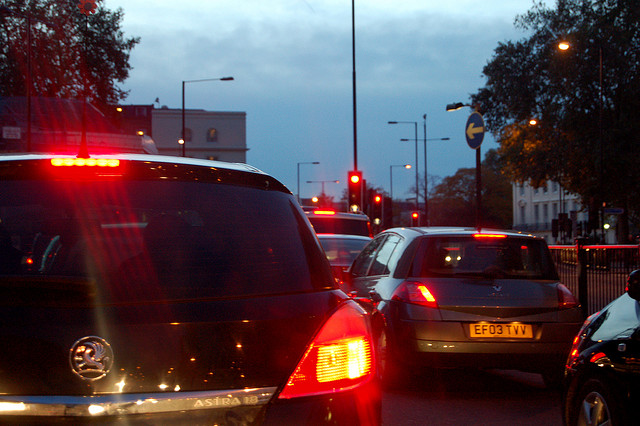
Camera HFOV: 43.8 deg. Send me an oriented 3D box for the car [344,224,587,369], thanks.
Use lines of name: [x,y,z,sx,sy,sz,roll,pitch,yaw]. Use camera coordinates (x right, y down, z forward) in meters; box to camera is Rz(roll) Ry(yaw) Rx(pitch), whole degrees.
car: [1.448,0.844,8.976,1.417,0.942,2.222,1,1,-7]

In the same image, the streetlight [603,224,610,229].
streetlight: [16.478,0.747,45.969,0.430,0.423,0.100,1,6,-14]

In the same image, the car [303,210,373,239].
car: [0.421,0.222,18.117,0.962,0.736,1.945,0,0,-14]

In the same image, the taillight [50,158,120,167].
taillight: [-1.219,-0.262,4.161,0.277,0.048,0.040,-2,3,-6]

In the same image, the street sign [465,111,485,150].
street sign: [3.248,-1.747,16.865,0.016,0.818,0.813,-1,2,-18]

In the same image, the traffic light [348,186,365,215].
traffic light: [1.334,-0.507,26.463,0.497,0.793,0.434,7,11,-13]

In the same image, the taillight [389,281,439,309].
taillight: [0.967,0.811,8.154,0.138,0.226,0.564,5,4,-43]

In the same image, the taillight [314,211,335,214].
taillight: [0.099,-0.016,17.998,0.456,0.073,0.053,0,-1,-10]
